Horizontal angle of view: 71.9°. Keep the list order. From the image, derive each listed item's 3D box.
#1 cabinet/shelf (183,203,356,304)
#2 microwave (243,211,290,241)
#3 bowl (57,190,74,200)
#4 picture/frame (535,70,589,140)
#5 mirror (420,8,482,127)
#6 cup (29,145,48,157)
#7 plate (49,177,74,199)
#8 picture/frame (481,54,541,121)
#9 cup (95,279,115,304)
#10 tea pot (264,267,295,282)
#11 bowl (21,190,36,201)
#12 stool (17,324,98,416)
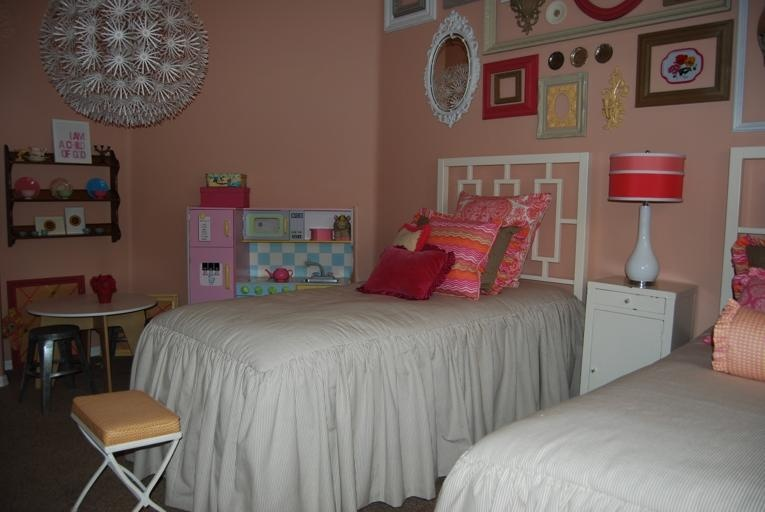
[{"bbox_3d":[-1.041,-0.049,4.882,0.954,0.963,0.348,0,0,-2],"label":"cabinet/shelf"},{"bbox_3d":[-1.128,-0.308,5.143,0.413,0.291,0.295,0,-3,-1],"label":"microwave"},{"bbox_3d":[-2.882,-0.551,4.763,0.092,0.052,0.083,0,-11,-9],"label":"bowl"},{"bbox_3d":[1.407,-1.178,4.083,0.548,0.673,0.050,3,4,44],"label":"picture/frame"},{"bbox_3d":[0.609,-1.658,4.665,0.565,0.980,0.039,5,7,38],"label":"mirror"},{"bbox_3d":[-3.056,-0.935,4.680,0.120,0.095,0.094,2,6,2],"label":"cup"},{"bbox_3d":[-2.923,-0.610,4.793,0.196,0.191,0.153,-5,7,-44],"label":"plate"},{"bbox_3d":[1.075,-1.392,4.325,0.046,0.681,0.614,-6,4,-45],"label":"picture/frame"},{"bbox_3d":[-2.185,0.289,4.249,0.170,0.205,0.186,-2,-9,0],"label":"cup"},{"bbox_3d":[-1.017,0.186,5.148,0.209,0.115,0.152,2,-2,-6],"label":"tea pot"},{"bbox_3d":[-3.097,-0.528,4.596,0.079,0.059,0.081,-1,-6,0],"label":"bowl"},{"bbox_3d":[-2.549,0.897,4.090,0.477,0.599,0.469,15,14,36],"label":"stool"}]
